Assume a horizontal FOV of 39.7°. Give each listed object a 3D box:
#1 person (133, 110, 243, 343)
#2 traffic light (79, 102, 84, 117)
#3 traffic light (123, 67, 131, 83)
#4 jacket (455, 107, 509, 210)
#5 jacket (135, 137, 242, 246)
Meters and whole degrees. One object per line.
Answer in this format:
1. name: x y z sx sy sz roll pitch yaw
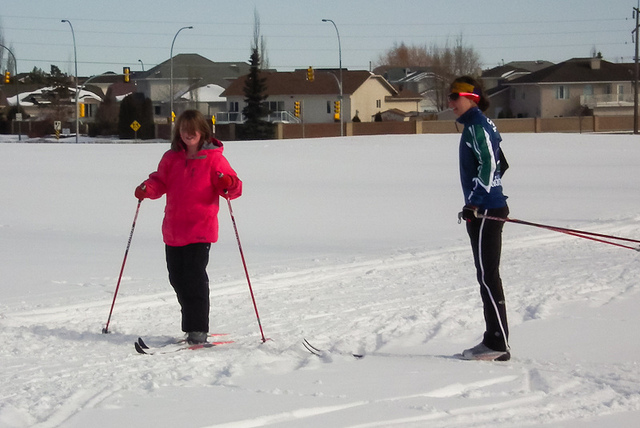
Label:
1. person: -1.599 0.154 11.180 1.114 2.902 0.748 5 13 29
2. traffic light: -13.760 -6.059 51.364 0.208 0.682 1.691 -4 12 -12
3. traffic light: -8.951 -6.479 41.219 0.247 0.676 1.100 -5 12 -14
4. jacket: 1.958 -0.699 10.798 0.556 1.319 0.887 -6 6 11
5. jacket: -1.609 -0.281 11.170 1.217 1.305 0.469 -3 11 -5
